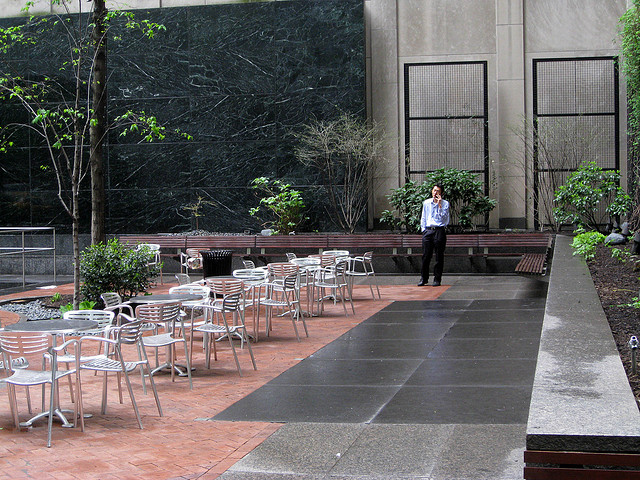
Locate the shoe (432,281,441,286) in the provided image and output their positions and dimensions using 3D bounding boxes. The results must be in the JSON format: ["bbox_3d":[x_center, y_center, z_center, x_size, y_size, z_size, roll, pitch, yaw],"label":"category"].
[{"bbox_3d":[2.706,1.021,14.139,0.175,0.111,0.272,-2,1,11],"label":"shoe"}]

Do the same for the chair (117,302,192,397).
[{"bbox_3d":[-1.881,1.202,6.873,0.645,0.921,0.689,-7,-2,-34],"label":"chair"}]

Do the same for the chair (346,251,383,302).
[{"bbox_3d":[0.854,0.758,13.002,0.829,0.927,0.798,-1,-3,-24],"label":"chair"}]

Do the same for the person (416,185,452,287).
[{"bbox_3d":[2.614,-0.081,13.968,0.643,2.360,0.953,-4,2,-23],"label":"person"}]

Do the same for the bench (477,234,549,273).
[{"bbox_3d":[5.032,0.391,16.377,1.993,1.054,0.689,-2,9,44],"label":"bench"}]

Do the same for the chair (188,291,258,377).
[{"bbox_3d":[-1.235,1.134,7.553,0.862,0.953,0.834,0,-1,42],"label":"chair"}]

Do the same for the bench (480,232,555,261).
[{"bbox_3d":[5.115,0.150,15.440,2.324,0.693,0.854,-1,-4,9],"label":"bench"}]

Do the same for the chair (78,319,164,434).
[{"bbox_3d":[-1.942,1.299,5.806,0.813,0.944,0.756,-1,-1,-16],"label":"chair"}]

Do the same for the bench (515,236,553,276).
[{"bbox_3d":[4.712,0.295,13.046,0.496,0.340,1.723,23,-17,8],"label":"bench"}]

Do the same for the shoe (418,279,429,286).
[{"bbox_3d":[2.410,1.013,14.277,0.211,0.158,0.284,-2,1,8],"label":"shoe"}]

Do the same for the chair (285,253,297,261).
[{"bbox_3d":[-0.640,0.371,13.007,0.164,0.195,0.169,-3,1,38],"label":"chair"}]

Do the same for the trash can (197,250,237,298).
[{"bbox_3d":[-2.365,0.629,12.434,0.741,0.814,0.639,6,-13,17],"label":"trash can"}]

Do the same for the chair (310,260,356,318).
[{"bbox_3d":[0.280,0.908,11.486,1.072,1.394,0.895,1,0,7],"label":"chair"}]

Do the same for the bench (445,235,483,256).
[{"bbox_3d":[3.941,0.161,16.555,0.736,0.617,0.162,2,-9,9],"label":"bench"}]

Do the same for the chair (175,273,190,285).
[{"bbox_3d":[-2.158,0.618,9.473,0.161,0.127,0.514,-3,1,-10],"label":"chair"}]

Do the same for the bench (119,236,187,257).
[{"bbox_3d":[-5.011,0.203,18.218,2.149,0.461,0.800,-2,1,29],"label":"bench"}]
